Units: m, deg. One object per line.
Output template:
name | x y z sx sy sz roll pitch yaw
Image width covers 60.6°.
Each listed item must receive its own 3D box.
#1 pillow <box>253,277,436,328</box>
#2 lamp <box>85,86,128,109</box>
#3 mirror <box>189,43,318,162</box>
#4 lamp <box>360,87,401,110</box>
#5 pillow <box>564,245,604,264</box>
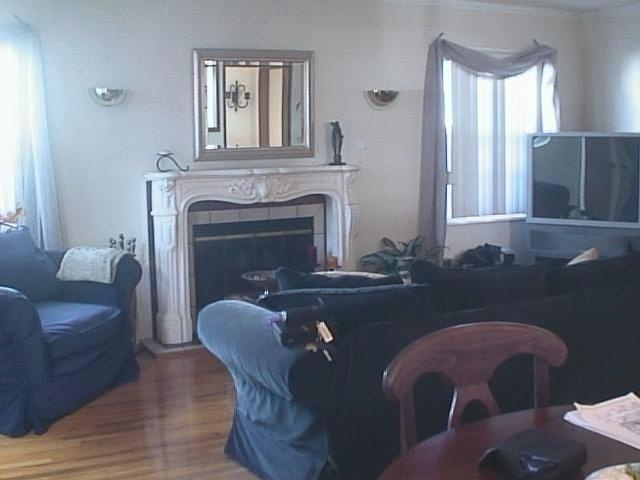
pillow | 0.117 0.287 2.298 0.727 0.153 0.201 -3 9 3
lamp | -1.667 -1.124 4.322 0.293 0.143 0.096 -7 9 -24
mirror | -0.561 -1.154 4.717 1.012 0.894 0.066 -5 21 -17
lamp | 0.581 -1.287 5.054 0.178 0.086 0.220 1 3 38
pillow | 2.082 0.108 4.310 0.189 0.087 0.147 -9 3 -25
